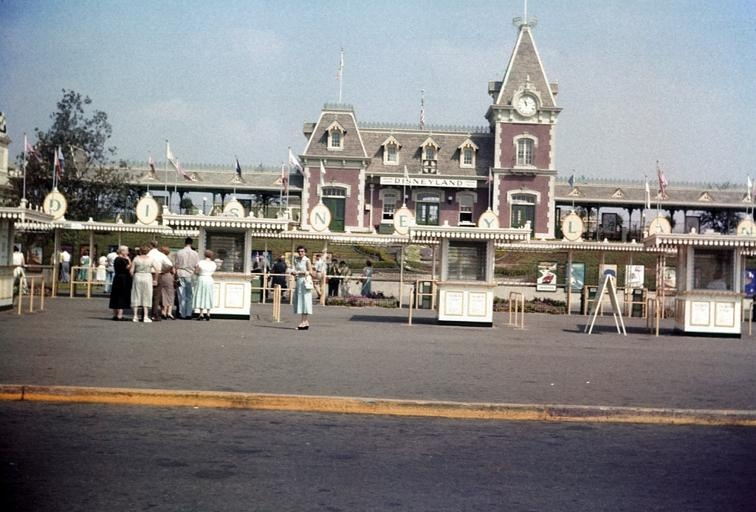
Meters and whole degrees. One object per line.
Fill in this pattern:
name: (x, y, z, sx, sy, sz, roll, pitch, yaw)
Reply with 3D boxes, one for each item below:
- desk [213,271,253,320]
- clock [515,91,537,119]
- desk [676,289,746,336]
desk: (-5.326, 1.429, 52.975, 2.025, 1.911, 1.388, 3, 6, -9)
clock: (9.228, -9.212, 89.640, 1.539, 1.790, 0.206, -3, -12, 0)
desk: (12.338, 2.121, 53.270, 2.015, 1.649, 0.532, 0, -6, 23)
